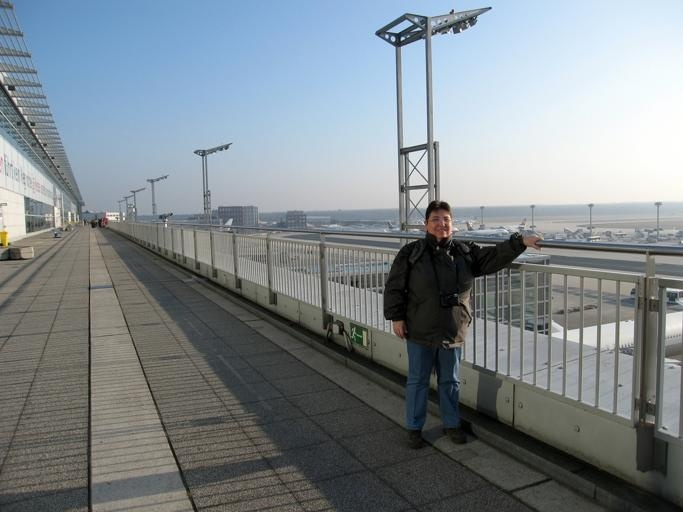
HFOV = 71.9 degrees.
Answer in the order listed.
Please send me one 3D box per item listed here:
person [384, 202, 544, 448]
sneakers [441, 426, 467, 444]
[{"bbox_3d":[1.023,0.664,4.653,1.163,2.381,0.379,-1,6,-5],"label":"person"},{"bbox_3d":[1.137,1.778,4.732,0.111,0.148,0.238,-1,2,-33],"label":"sneakers"}]
